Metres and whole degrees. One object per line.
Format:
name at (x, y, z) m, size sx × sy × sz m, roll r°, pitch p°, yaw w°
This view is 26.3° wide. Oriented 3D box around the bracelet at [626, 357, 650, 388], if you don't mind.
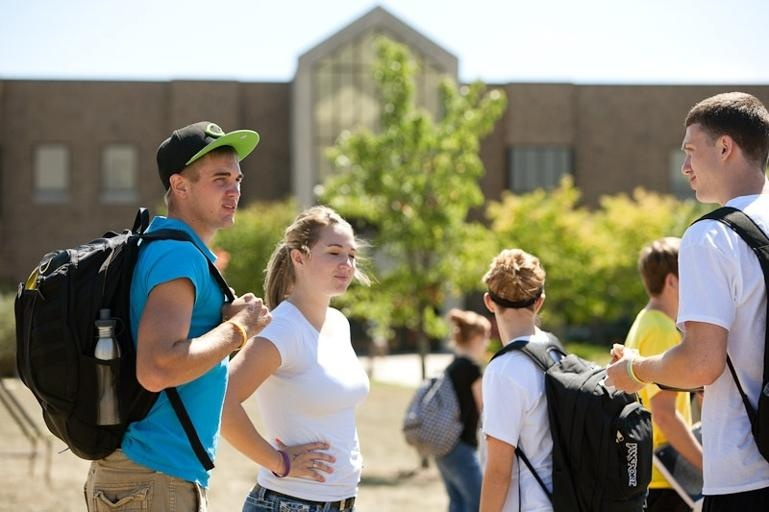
bracelet at (2.635, 1.203, 17.158) m, size 0.105 × 0.276 × 0.228 m, roll -17°, pitch 16°, yaw 10°
